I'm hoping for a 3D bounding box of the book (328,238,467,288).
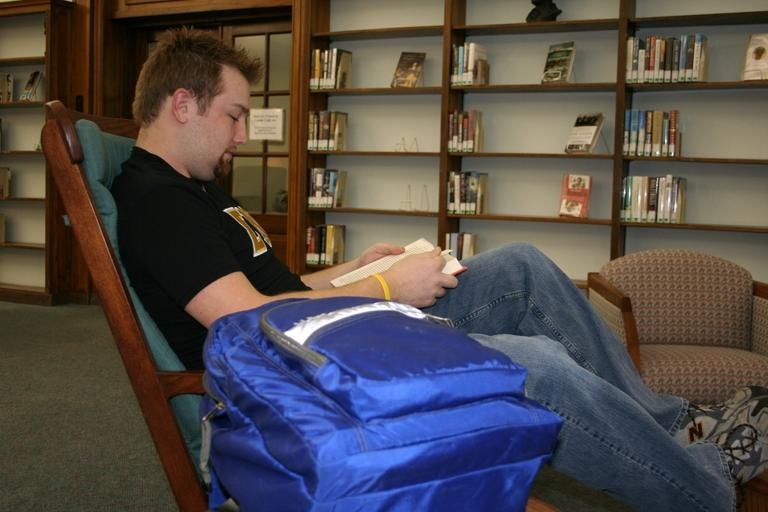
[{"bbox_3d":[0.075,0.024,2.795,0.587,0.065,0.326,-24,4,8],"label":"book"}]

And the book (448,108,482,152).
[{"bbox_3d":[0.615,-0.913,4.630,0.278,0.364,0.382,2,8,20],"label":"book"}]

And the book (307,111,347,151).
[{"bbox_3d":[-0.465,-1.004,5.069,0.290,0.384,0.400,4,9,18],"label":"book"}]

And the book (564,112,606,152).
[{"bbox_3d":[1.434,-0.879,4.333,0.238,0.322,0.087,8,-20,47],"label":"book"}]

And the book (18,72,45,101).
[{"bbox_3d":[-3.372,-1.635,5.838,0.190,0.307,0.226,-3,10,-31],"label":"book"}]

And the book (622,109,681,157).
[{"bbox_3d":[1.858,-0.833,4.211,0.318,0.415,0.435,2,7,22],"label":"book"}]

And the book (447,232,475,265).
[{"bbox_3d":[0.614,-0.092,4.740,0.207,0.279,0.295,2,3,13],"label":"book"}]

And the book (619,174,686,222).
[{"bbox_3d":[1.890,-0.396,4.357,0.451,0.428,0.326,1,-2,11],"label":"book"}]

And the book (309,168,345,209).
[{"bbox_3d":[-0.450,-0.514,5.043,0.285,0.384,0.396,2,4,31],"label":"book"}]

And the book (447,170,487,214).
[{"bbox_3d":[0.671,-0.476,4.797,0.289,0.382,0.390,2,5,20],"label":"book"}]
